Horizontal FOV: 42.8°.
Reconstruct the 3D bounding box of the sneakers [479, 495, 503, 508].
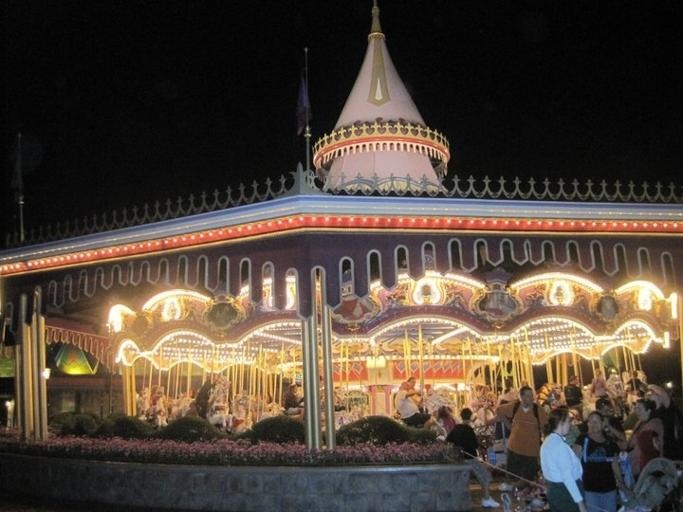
[{"bbox_3d":[2.787,4.534,16.054,0.382,0.199,0.158,3,-5,-11],"label":"sneakers"}]
